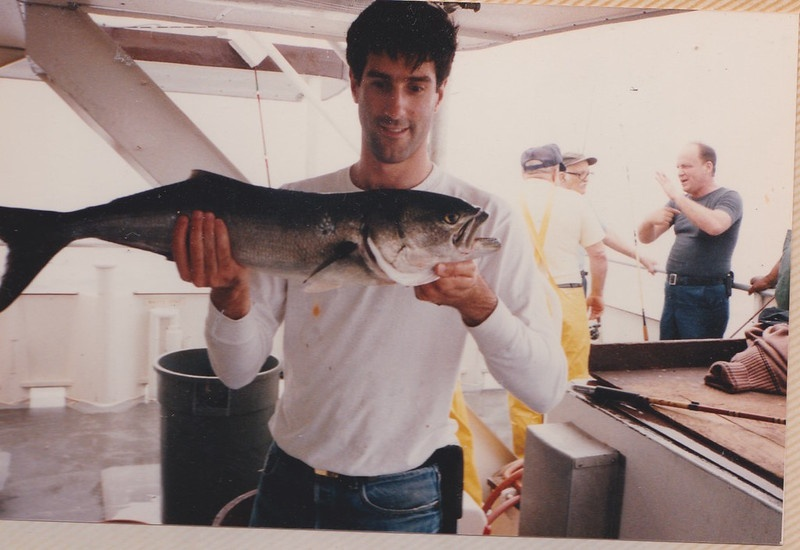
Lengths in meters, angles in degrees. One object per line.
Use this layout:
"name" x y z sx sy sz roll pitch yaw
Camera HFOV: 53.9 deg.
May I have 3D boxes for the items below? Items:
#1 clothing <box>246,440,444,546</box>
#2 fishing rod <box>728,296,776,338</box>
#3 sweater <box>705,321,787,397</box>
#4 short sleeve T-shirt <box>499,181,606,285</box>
"clothing" -0.190 0.735 2.736 0.380 0.386 0.154 15 24 -10
"fishing rod" 1.287 0.145 2.855 0.317 0.007 0.008 -26 41 2
"sweater" 1.313 0.299 2.882 0.372 0.113 0.258 -7 18 -8
"short sleeve T-shirt" 0.526 -0.159 2.759 0.388 0.251 0.199 15 24 31
